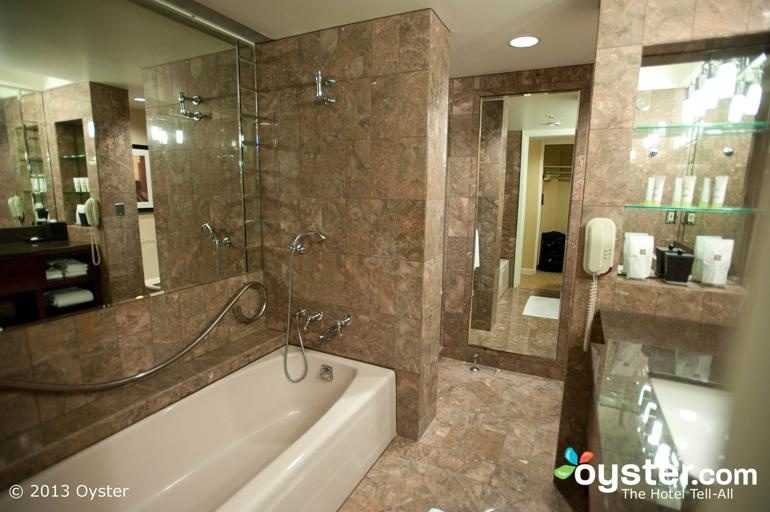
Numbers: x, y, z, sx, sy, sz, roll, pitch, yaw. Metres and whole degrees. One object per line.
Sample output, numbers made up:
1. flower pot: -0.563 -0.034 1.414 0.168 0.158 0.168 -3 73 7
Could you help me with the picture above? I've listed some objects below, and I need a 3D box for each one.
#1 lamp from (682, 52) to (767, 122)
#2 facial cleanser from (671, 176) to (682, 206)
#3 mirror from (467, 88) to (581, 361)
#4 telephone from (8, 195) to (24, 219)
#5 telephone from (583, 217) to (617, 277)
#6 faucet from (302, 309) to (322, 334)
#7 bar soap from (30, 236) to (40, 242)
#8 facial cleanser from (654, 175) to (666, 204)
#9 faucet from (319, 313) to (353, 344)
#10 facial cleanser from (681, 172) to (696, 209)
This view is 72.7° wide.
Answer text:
1. lamp: 1.937 -0.924 2.978 0.371 0.360 0.354 5 14 39
2. facial cleanser: 1.732 -0.382 3.085 0.063 0.158 0.032 -4 11 30
3. mirror: 1.215 -0.244 4.577 1.111 2.311 0.261 -5 10 25
4. telephone: -2.082 -0.274 2.949 0.016 0.111 0.065 -1 12 42
5. telephone: 1.324 -0.060 3.203 0.184 0.340 0.087 4 10 22
6. faucet: -0.557 0.494 3.978 0.140 0.166 0.088 13 -6 0
7. bar soap: -2.021 -0.097 3.016 0.036 0.014 0.021 19 19 26
8. facial cleanser: 1.649 -0.392 3.129 0.089 0.163 0.035 -15 11 -31
9. faucet: -0.369 0.543 3.867 0.306 0.215 0.095 -6 10 19
10. facial cleanser: 1.791 -0.381 3.065 0.093 0.171 0.041 -11 9 -10
